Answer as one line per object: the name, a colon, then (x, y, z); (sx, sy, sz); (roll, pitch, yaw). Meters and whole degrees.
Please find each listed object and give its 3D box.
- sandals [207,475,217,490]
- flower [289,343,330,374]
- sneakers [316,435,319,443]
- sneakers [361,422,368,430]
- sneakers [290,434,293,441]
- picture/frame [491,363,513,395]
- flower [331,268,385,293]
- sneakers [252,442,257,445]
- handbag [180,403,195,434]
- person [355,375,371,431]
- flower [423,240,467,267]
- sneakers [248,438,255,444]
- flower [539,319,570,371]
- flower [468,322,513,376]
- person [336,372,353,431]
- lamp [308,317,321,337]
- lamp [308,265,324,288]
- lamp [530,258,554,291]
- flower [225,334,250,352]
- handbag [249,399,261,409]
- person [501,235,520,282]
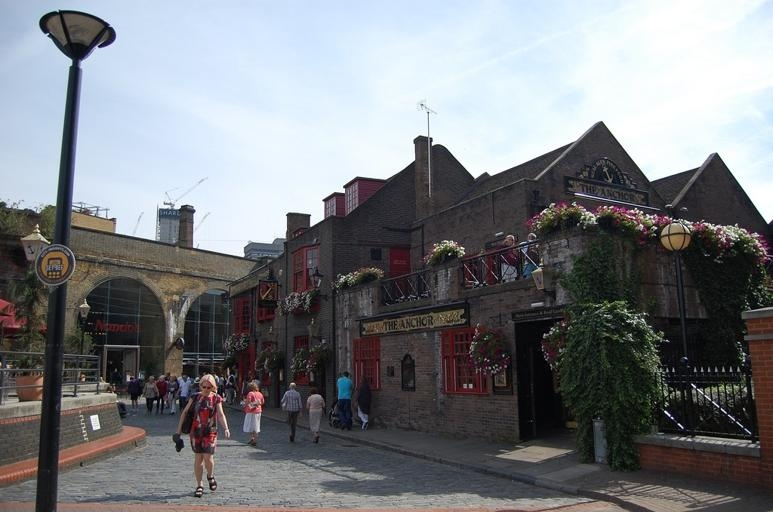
sandals: (-4.094, 5.277, 14.659); (0.209, 0.286, 0.535); (-15, -27, -4)
flower: (-3.470, 4.978, 29.376); (1.727, 0.905, 1.407); (-12, 1, -26)
sneakers: (-2.394, 6.340, 21.664); (0.087, 0.248, 0.099); (-1, 17, -41)
sneakers: (-0.870, 6.688, 24.733); (0.190, 0.253, 0.321); (2, -22, -2)
sneakers: (-3.287, 6.300, 21.805); (0.102, 0.205, 0.136); (1, 5, 0)
picture/frame: (3.677, 3.841, 19.793); (0.086, 1.133, 0.961); (6, -10, -32)
flower: (-1.224, 0.976, 27.870); (0.658, 0.988, 3.253); (8, -18, -34)
sneakers: (-4.367, 6.188, 20.758); (0.148, 0.093, 0.381); (1, -15, -10)
handbag: (-4.593, 3.740, 14.465); (0.241, 0.603, 0.190); (6, -15, -26)
person: (-0.888, 5.827, 24.956); (0.551, 2.015, 0.620); (2, -14, -14)
flower: (2.129, -0.123, 22.734); (1.086, 0.682, 1.088); (-1, -2, -26)
sneakers: (-4.454, 6.115, 20.836); (0.212, 0.211, 0.168); (3, -10, -4)
flower: (4.824, 2.463, 17.709); (0.498, 1.335, 1.180); (2, -14, -12)
flower: (3.317, 2.951, 20.074); (0.529, 1.636, 1.282); (8, -17, -35)
person: (-1.657, 5.665, 24.739); (0.540, 2.223, 0.791); (1, -14, -9)
lamp: (-3.534, 3.442, 30.508); (0.401, 1.180, 1.305); (4, -15, -20)
lamp: (-3.486, 1.043, 31.039); (0.434, 1.254, 1.562); (3, -15, -17)
lamp: (4.631, 0.567, 18.696); (0.450, 0.973, 0.664); (12, -19, -43)
flower: (-9.455, 5.430, 40.049); (0.695, 1.169, 3.416); (6, -17, -28)
handbag: (-4.369, 4.969, 21.015); (0.280, 0.249, 0.233); (-1, -2, -3)
person: (3.965, 0.072, 20.276); (0.436, 1.598, 0.901); (0, -14, -4)
